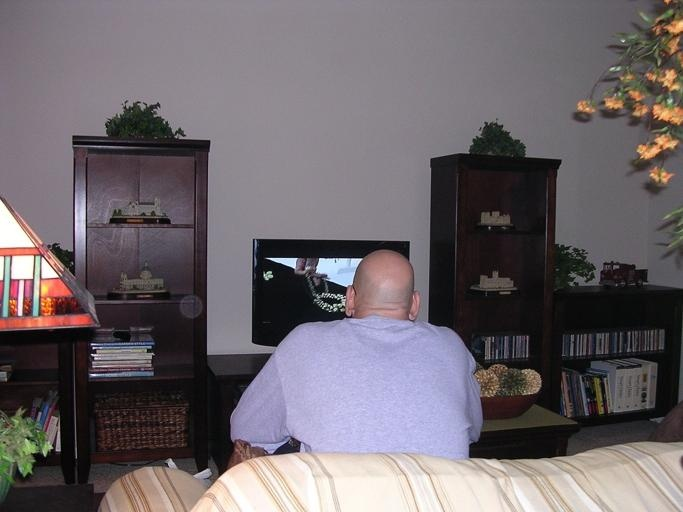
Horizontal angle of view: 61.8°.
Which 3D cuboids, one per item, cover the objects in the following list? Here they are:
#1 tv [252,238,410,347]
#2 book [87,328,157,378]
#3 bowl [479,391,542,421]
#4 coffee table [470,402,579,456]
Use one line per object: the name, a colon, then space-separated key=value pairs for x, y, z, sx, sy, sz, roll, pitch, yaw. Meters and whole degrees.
tv: x=-0.125 y=0.188 z=2.964 sx=0.708 sy=0.505 sz=0.072 roll=1 pitch=5 yaw=-9
book: x=-1.347 y=0.604 z=3.494 sx=0.266 sy=0.130 sz=0.348 roll=2 pitch=4 yaw=-7
bowl: x=0.900 y=0.805 z=3.060 sx=0.258 sy=0.080 sz=0.262 roll=-3 pitch=-3 yaw=0
coffee table: x=0.986 y=0.907 z=3.048 sx=0.378 sy=0.370 sz=0.253 roll=-1 pitch=18 yaw=-5
